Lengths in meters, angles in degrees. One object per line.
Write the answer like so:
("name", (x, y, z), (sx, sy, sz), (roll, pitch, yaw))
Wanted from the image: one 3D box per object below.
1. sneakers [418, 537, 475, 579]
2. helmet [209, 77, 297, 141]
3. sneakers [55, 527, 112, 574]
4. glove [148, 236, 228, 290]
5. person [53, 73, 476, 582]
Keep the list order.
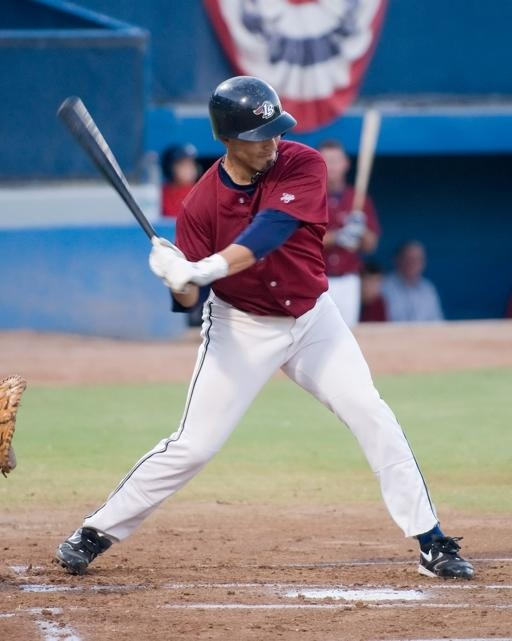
("sneakers", (0.547, 0.705, 2.913), (0.088, 0.082, 0.219), (5, -9, -31))
("helmet", (-0.013, -0.595, 2.796), (0.173, 0.188, 0.184), (-4, 9, -21))
("sneakers", (-0.524, 0.685, 3.012), (0.086, 0.106, 0.229), (45, 5, 1))
("glove", (-0.192, -0.157, 2.656), (0.168, 0.150, 0.053), (-37, -15, 31))
("person", (-0.021, 0.036, 2.888), (1.186, 1.484, 0.510), (-3, 9, -11))
